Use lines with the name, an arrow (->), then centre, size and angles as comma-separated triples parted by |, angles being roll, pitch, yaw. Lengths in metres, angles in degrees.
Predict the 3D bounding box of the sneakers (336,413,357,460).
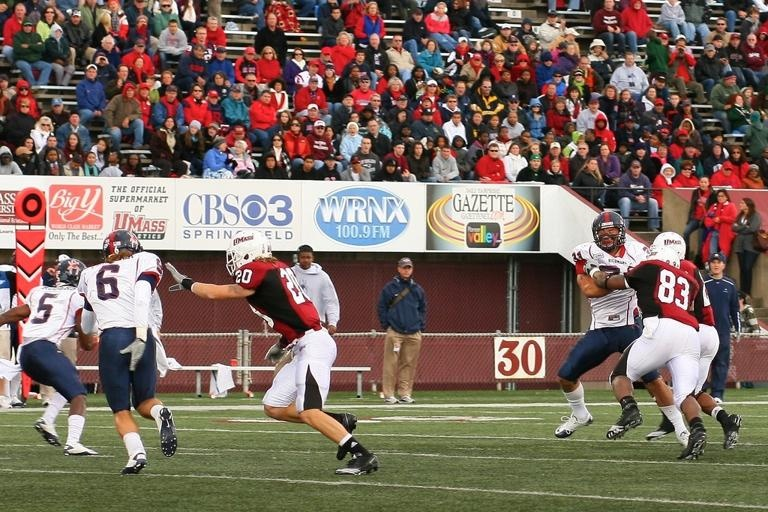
sneakers -> -0.449, 2.149, 16.260 | 0.258, 0.555, 0.192 | 8, 25, -3

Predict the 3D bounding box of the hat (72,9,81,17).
hat -> -6.395, -5.111, 29.252 | 0.215, 0.123, 0.318 | 2, 8, -15

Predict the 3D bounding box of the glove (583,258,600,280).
glove -> 2.570, 0.159, 17.480 | 0.150, 0.229, 0.097 | -3, -37, -35

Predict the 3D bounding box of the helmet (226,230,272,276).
helmet -> -1.533, -0.042, 16.319 | 0.604, 0.530, 0.488 | -3, 0, 23

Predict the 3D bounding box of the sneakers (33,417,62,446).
sneakers -> -4.245, 2.247, 17.773 | 0.302, 0.389, 0.280 | -1, 3, -11

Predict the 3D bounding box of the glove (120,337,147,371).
glove -> -2.835, 1.108, 15.907 | 0.290, 0.344, 0.090 | 11, -19, 17

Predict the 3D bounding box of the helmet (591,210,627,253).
helmet -> 2.883, -0.345, 17.964 | 0.437, 0.470, 0.597 | -7, 3, 19

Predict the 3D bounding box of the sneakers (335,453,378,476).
sneakers -> -0.273, 2.368, 15.699 | 0.536, 0.271, 0.198 | 0, -2, -5

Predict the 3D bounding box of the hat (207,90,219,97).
hat -> -3.417, -3.275, 28.044 | 0.225, 0.170, 0.371 | -1, 3, -7

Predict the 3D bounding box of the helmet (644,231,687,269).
helmet -> 3.527, -0.075, 17.144 | 0.527, 0.438, 0.391 | 20, 4, -3

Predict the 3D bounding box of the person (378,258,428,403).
person -> 0.284, 1.291, 23.915 | 0.785, 2.478, 0.636 | 0, 3, 7

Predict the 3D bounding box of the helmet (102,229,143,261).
helmet -> -3.054, -0.149, 16.591 | 0.431, 0.342, 0.314 | -16, 4, -30

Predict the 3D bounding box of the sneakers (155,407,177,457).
sneakers -> -2.422, 2.006, 16.010 | 0.224, 0.591, 0.270 | -6, -9, -28

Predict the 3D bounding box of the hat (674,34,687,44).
hat -> 6.942, -5.167, 32.958 | 0.323, 0.128, 0.426 | 2, -12, 6

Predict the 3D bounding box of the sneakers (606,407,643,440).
sneakers -> 3.014, 2.053, 17.453 | 0.223, 0.285, 0.654 | 4, -29, -36

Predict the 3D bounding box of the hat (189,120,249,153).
hat -> -3.134, -2.364, 27.435 | 0.785, 0.335, 0.590 | -2, -4, 6

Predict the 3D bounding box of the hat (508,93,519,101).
hat -> 2.761, -3.450, 30.211 | 0.235, 0.120, 0.333 | 0, -2, 7

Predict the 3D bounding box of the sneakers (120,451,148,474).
sneakers -> -2.813, 2.369, 15.852 | 0.156, 0.183, 0.391 | 11, -22, -22

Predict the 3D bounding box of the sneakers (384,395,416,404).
sneakers -> 0.256, 2.475, 23.841 | 0.467, 0.207, 0.169 | -7, -10, 27

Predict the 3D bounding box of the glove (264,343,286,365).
glove -> -1.292, 1.125, 16.352 | 0.249, 0.290, 0.385 | 2, 18, 3

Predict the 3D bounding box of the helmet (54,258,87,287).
helmet -> -4.162, 0.210, 18.736 | 0.426, 0.469, 0.528 | 6, -4, -35

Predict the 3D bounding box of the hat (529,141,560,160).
hat -> 3.257, -2.175, 28.684 | 0.418, 0.196, 0.546 | 0, -8, 7

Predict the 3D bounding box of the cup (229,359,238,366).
cup -> -2.781, 1.995, 26.082 | 0.119, 0.143, 0.118 | 1, -6, 0

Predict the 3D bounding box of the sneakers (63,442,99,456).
sneakers -> -3.718, 2.378, 17.204 | 0.436, 0.176, 0.157 | 1, -1, -2

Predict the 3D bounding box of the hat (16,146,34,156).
hat -> -6.673, -1.982, 26.154 | 0.313, 0.170, 0.187 | -1, 3, -13
